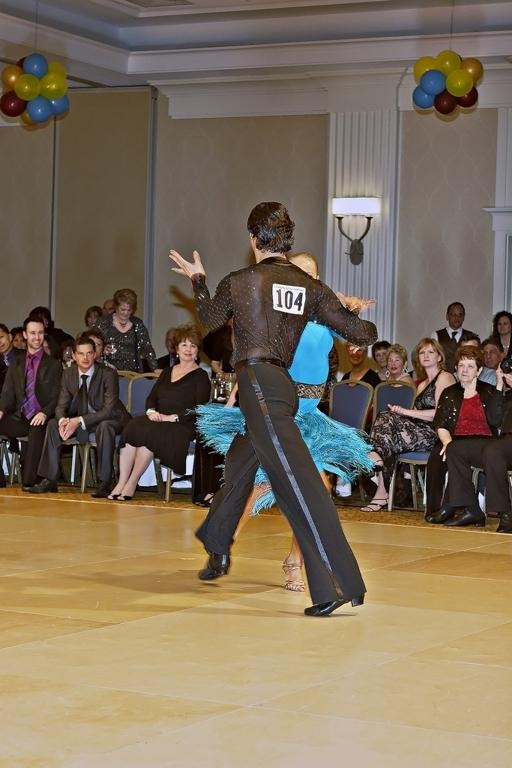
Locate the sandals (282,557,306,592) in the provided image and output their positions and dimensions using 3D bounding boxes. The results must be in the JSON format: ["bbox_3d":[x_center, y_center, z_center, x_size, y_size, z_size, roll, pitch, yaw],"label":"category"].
[{"bbox_3d":[0.173,0.868,2.898,0.065,0.067,0.175,0,-6,-3],"label":"sandals"}]

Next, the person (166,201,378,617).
[{"bbox_3d":[0.050,0.058,2.685,0.900,1.656,0.652,2,-2,15],"label":"person"}]

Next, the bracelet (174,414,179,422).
[{"bbox_3d":[-0.739,0.334,6.074,0.037,0.054,0.052,3,-1,9],"label":"bracelet"}]

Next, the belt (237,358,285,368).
[{"bbox_3d":[0.024,-0.082,2.508,0.173,0.022,0.058,3,-2,-2],"label":"belt"}]

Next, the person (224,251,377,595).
[{"bbox_3d":[0.165,0.157,3.075,0.764,1.383,0.726,8,6,26],"label":"person"}]
